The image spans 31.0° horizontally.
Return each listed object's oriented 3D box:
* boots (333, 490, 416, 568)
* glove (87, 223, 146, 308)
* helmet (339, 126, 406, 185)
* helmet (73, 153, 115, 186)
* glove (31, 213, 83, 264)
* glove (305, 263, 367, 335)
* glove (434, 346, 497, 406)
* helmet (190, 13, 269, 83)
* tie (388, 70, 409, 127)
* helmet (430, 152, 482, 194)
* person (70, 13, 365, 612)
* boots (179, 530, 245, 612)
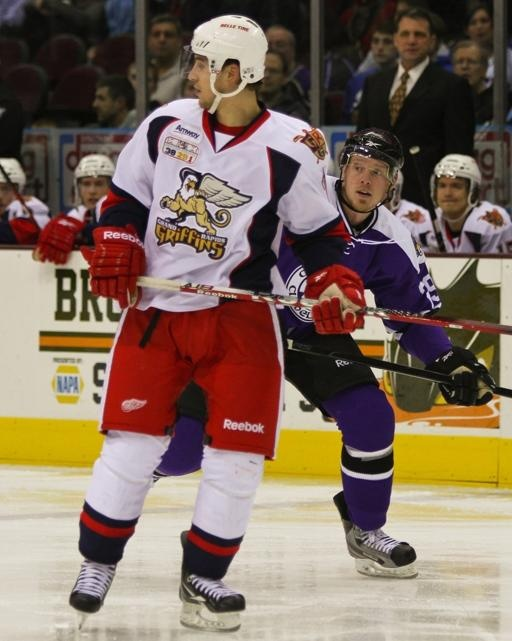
[{"bbox_3d":[0.384,0.694,2.971,0.093,0.170,0.292,-13,9,-33],"label":"boots"},{"bbox_3d":[-0.340,-0.135,2.312,0.193,0.175,0.092,2,4,7],"label":"glove"},{"bbox_3d":[0.397,-0.560,3.099,0.186,0.152,0.207,15,12,6],"label":"helmet"},{"bbox_3d":[-0.949,-0.898,5.495,0.202,0.183,0.220,-4,0,5],"label":"helmet"},{"bbox_3d":[-0.998,-0.406,4.654,0.236,0.247,0.133,29,-21,-15],"label":"glove"},{"bbox_3d":[0.197,-0.050,2.327,0.162,0.156,0.095,3,-9,-14],"label":"glove"},{"bbox_3d":[0.602,0.174,2.720,0.156,0.085,0.197,34,8,-18],"label":"glove"},{"bbox_3d":[-0.071,-0.703,2.363,0.247,0.153,0.167,-6,30,-12],"label":"helmet"},{"bbox_3d":[0.795,-1.259,5.203,0.084,0.308,0.086,5,9,-7],"label":"tie"},{"bbox_3d":[1.080,-0.809,5.046,0.223,0.207,0.260,1,5,30],"label":"helmet"},{"bbox_3d":[-0.091,0.005,2.347,0.676,1.586,0.381,5,9,-8],"label":"person"},{"bbox_3d":[-0.165,0.674,2.418,0.107,0.173,0.302,1,-2,-37],"label":"boots"}]
